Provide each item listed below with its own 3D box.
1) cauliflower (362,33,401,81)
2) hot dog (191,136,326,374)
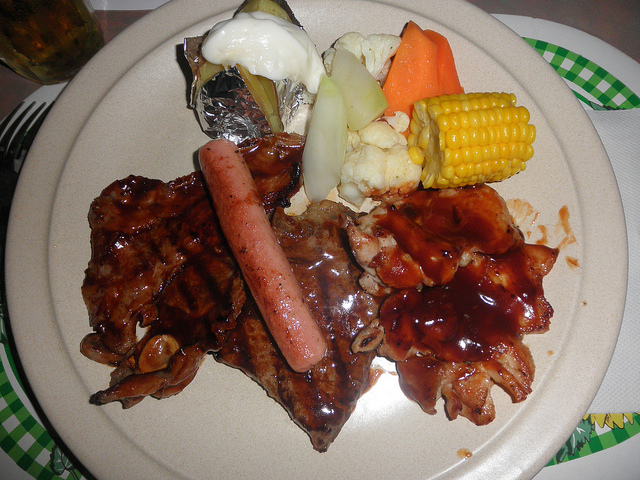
[{"bbox_3d":[0.460,-1.464,5.299,0.274,0.375,0.234,-20,34,-31],"label":"cauliflower"},{"bbox_3d":[-0.428,0.101,4.743,0.305,1.701,0.412,-26,-5,-4],"label":"hot dog"}]
